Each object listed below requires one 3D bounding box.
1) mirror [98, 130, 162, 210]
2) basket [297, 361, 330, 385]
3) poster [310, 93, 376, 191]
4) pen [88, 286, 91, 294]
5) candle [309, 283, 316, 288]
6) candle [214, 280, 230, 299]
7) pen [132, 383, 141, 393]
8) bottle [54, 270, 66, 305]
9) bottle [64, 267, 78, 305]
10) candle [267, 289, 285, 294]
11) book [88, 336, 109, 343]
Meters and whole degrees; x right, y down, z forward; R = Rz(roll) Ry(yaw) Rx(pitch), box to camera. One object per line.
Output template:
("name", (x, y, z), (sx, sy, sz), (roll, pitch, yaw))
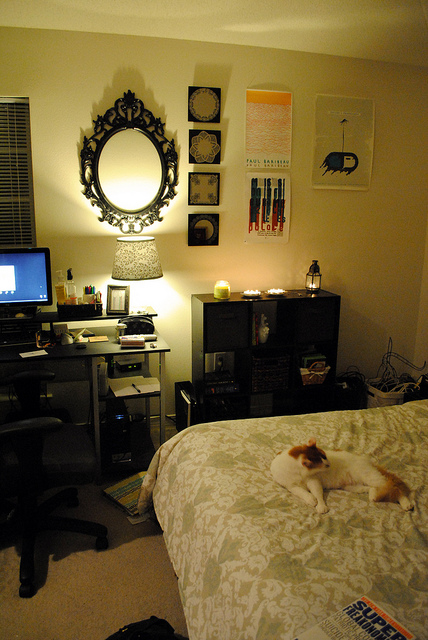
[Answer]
("mirror", (-0.535, -0.943, 2.903), (0.423, 0.545, 0.039), (-7, 18, -30))
("basket", (0.662, 0.365, 3.138), (0.219, 0.167, 0.150), (-1, 6, -11))
("poster", (0.871, -1.259, 3.264), (0.616, 0.781, 0.066), (-5, 23, -15))
("pen", (-0.749, -0.179, 2.834), (0.021, 0.038, 0.039), (-1, 11, -12))
("candle", (0.693, -0.243, 3.322), (0.028, 0.053, 0.054), (5, 9, 35))
("candle", (0.048, -0.191, 2.998), (0.104, 0.105, 0.107), (2, 6, 15))
("pen", (-0.446, 0.379, 2.685), (0.021, 0.018, 0.107), (-30, 42, -9))
("bottle", (-0.926, -0.203, 2.847), (0.064, 0.181, 0.242), (-5, 13, -18))
("bottle", (-0.855, -0.203, 2.797), (0.073, 0.203, 0.160), (-5, 13, -17))
("candle", (0.421, -0.199, 3.214), (0.112, 0.017, 0.190), (2, 13, 13))
("book", (-0.668, 0.111, 2.717), (0.114, 0.017, 0.118), (-7, 14, -24))
